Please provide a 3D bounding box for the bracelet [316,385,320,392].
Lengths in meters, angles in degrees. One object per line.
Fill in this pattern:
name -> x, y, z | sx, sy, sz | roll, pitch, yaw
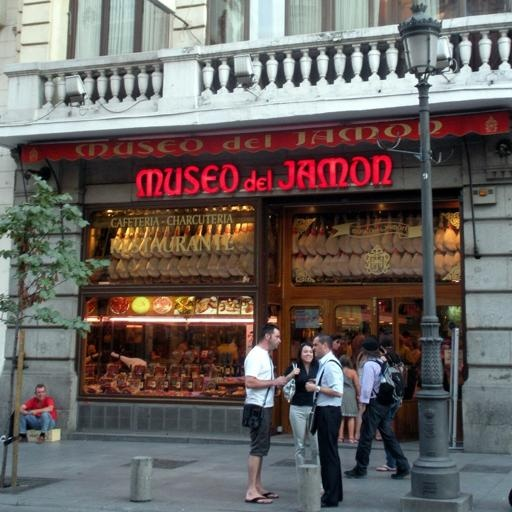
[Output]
bracelet -> 0.716, 1.553, 8.702 | 0.046, 0.061, 0.061 | 2, -1, 13

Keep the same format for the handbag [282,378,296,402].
handbag -> 0.402, 1.618, 8.989 | 0.138, 0.302, 0.227 | -2, -5, 3

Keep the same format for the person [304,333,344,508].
person -> 0.805, 1.895, 8.760 | 0.420, 1.916, 0.530 | -2, -5, 5

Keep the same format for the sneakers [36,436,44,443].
sneakers -> -3.783, 3.246, 13.198 | 0.098, 0.099, 0.116 | -7, -23, -7

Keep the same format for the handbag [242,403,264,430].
handbag -> -0.053, 1.903, 8.787 | 0.247, 0.315, 0.159 | -2, -5, 13

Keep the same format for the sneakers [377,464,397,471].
sneakers -> 1.804, 2.958, 10.405 | 0.269, 0.086, 0.099 | 2, -7, 5

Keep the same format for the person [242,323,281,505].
person -> 0.083, 1.860, 8.915 | 0.502, 2.059, 0.424 | -1, -5, 1

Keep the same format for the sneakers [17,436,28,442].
sneakers -> -4.117, 3.226, 13.249 | 0.135, 0.151, 0.150 | 1, -5, -30

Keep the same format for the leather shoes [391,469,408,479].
leather shoes -> 1.862, 2.862, 9.789 | 0.253, 0.095, 0.093 | -2, 0, 36

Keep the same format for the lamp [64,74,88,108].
lamp -> -3.311, -3.073, 13.787 | 0.363, 0.621, 0.572 | 0, -5, -14

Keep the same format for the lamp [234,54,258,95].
lamp -> -0.199, -3.125, 12.721 | 0.318, 0.586, 0.410 | -1, -5, 2
